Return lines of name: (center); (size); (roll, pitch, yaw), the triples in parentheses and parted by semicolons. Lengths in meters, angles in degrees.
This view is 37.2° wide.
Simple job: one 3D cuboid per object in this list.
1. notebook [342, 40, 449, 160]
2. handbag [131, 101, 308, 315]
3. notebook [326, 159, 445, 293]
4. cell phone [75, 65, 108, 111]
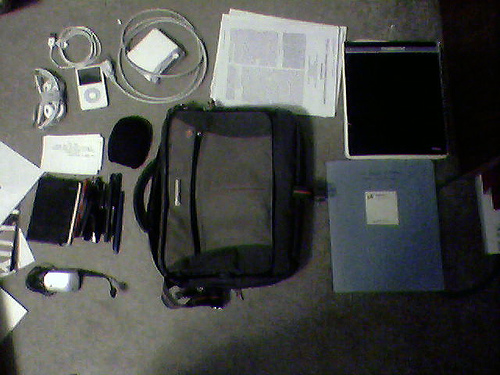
notebook: (0.502, -0.307, 2.580); (0.344, 0.055, 0.410); (-2, 83, 1)
handbag: (-0.096, 0.074, 2.579); (0.589, 0.184, 0.690); (-4, 83, 1)
notebook: (0.477, 0.130, 2.610); (0.391, 0.061, 0.475); (-3, 83, 1)
cell phone: (-0.572, -0.364, 2.685); (0.096, 0.018, 0.173); (-9, 69, -10)
